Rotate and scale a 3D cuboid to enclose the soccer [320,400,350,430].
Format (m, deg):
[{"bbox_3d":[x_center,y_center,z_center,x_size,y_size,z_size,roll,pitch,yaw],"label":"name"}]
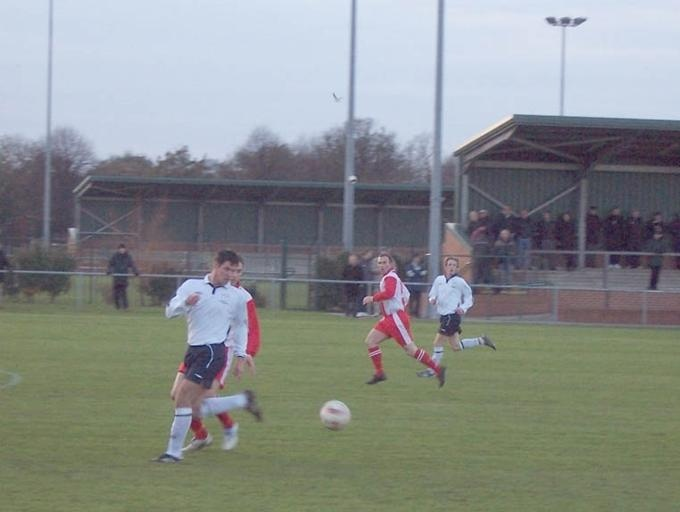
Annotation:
[{"bbox_3d":[-0.067,3.262,33.438,0.640,0.543,0.555,-1,-26,-16],"label":"soccer"}]

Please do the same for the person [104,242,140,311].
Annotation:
[{"bbox_3d":[-5.728,0.613,43.736,0.779,1.726,0.942,1,0,-8],"label":"person"}]

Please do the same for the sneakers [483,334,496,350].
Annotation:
[{"bbox_3d":[3.501,2.048,38.112,0.132,0.432,0.193,-50,-11,20],"label":"sneakers"}]

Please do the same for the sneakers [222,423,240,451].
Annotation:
[{"bbox_3d":[-2.138,3.628,32.877,0.280,0.500,0.236,3,2,9],"label":"sneakers"}]

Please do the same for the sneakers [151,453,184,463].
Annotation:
[{"bbox_3d":[-3.370,4.032,32.518,0.393,0.127,0.233,8,-13,-15],"label":"sneakers"}]

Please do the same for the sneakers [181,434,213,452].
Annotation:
[{"bbox_3d":[-2.775,3.744,32.940,0.691,0.266,0.239,-22,15,-9],"label":"sneakers"}]
